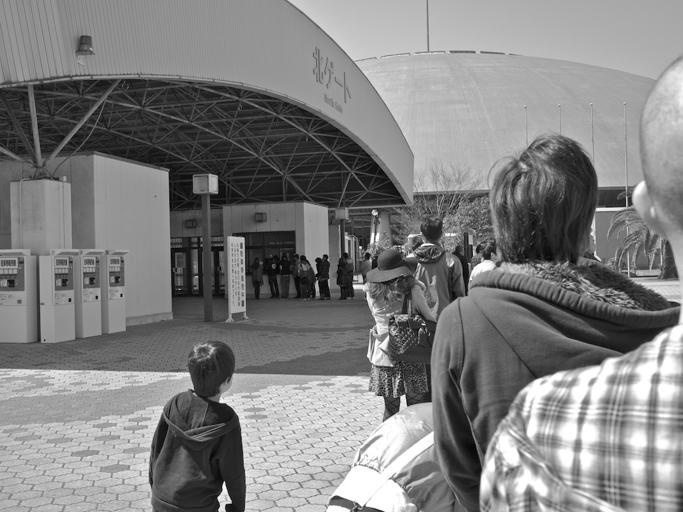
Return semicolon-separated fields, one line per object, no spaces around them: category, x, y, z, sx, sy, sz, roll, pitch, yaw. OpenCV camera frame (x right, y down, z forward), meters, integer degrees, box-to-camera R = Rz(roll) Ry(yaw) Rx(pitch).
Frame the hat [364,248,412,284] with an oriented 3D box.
hat;0.429;0.086;5.490;0.420;0.274;0.245;-5;1;3

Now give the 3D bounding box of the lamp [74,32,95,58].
lamp;-5.611;-4.594;13.312;0.367;0.431;0.431;-3;-1;17

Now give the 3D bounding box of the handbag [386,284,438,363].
handbag;0.556;0.557;4.920;0.293;0.755;0.500;-10;-14;41
